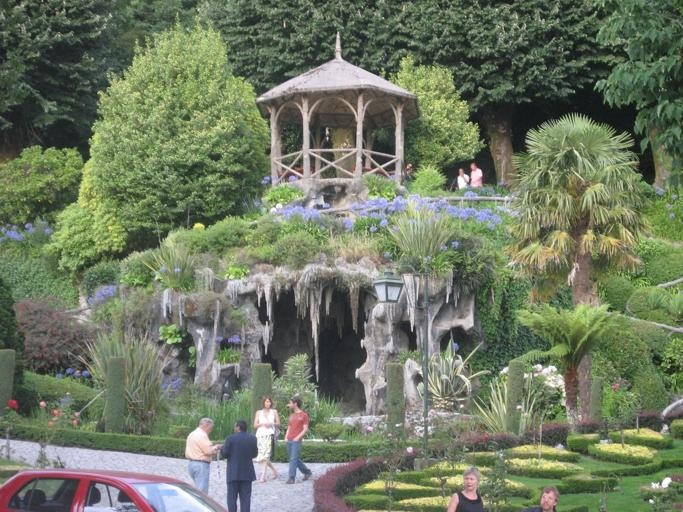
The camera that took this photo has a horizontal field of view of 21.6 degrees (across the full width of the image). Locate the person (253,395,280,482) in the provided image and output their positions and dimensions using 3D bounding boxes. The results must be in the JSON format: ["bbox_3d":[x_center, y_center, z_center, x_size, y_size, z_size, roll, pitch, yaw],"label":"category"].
[{"bbox_3d":[-2.612,6.325,62.108,0.827,2.857,1.242,-1,-3,9],"label":"person"}]

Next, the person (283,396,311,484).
[{"bbox_3d":[-1.490,6.296,61.656,0.808,2.960,0.931,-1,-3,0],"label":"person"}]
